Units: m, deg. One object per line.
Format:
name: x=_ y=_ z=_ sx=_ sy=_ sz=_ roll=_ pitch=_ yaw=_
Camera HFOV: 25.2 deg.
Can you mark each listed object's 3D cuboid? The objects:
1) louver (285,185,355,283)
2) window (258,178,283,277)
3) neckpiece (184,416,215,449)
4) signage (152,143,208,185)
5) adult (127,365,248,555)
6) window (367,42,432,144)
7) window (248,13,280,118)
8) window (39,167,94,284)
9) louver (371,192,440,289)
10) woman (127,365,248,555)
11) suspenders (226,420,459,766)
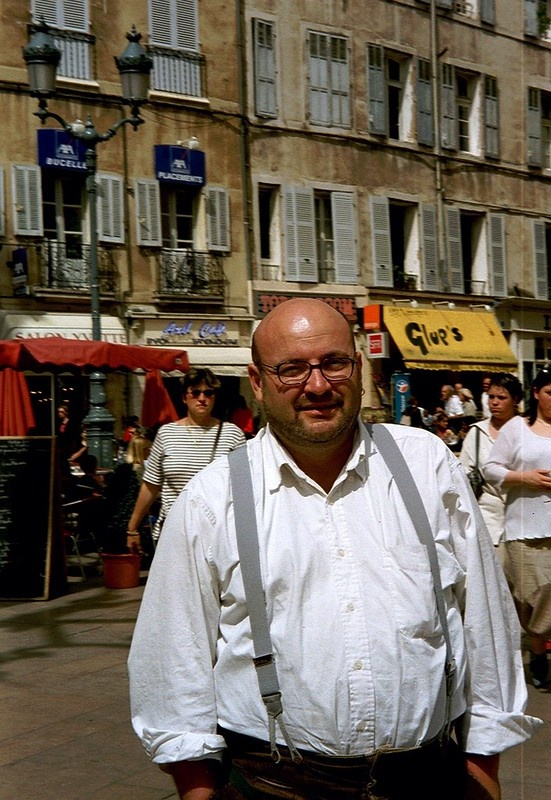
louver: x=0.790 y=-3.014 z=22.582 sx=1.823 sy=2.056 sz=0.206 roll=4 pitch=-8 yaw=-44
window: x=-0.162 y=-3.089 z=22.217 sx=0.379 sy=1.576 sz=0.155 roll=-11 pitch=28 yaw=-23
neckpiece: x=-0.385 y=0.184 z=6.572 sx=0.137 sy=0.138 sz=0.049 roll=20 pitch=1 yaw=-4
signage: x=-1.637 y=-3.918 z=20.576 sx=0.053 sy=0.551 sz=0.785 roll=-5 pitch=-4 yaw=41
adult: x=-0.435 y=0.580 z=6.656 sx=0.720 sy=1.449 sz=0.478 roll=0 pitch=8 yaw=-12
window: x=2.227 y=-5.529 z=22.106 sx=1.674 sy=2.029 sz=0.779 roll=1 pitch=3 yaw=-1
window: x=-0.174 y=-5.727 z=21.573 sx=0.705 sy=1.698 sz=0.297 roll=-1 pitch=0 yaw=-41
window: x=-3.383 y=-2.656 z=19.668 sx=0.980 sy=1.929 sz=0.087 roll=10 pitch=21 yaw=25
louver: x=2.318 y=-2.894 z=23.858 sx=1.813 sy=1.676 sz=0.600 roll=1 pitch=-5 yaw=-38
woman: x=-0.463 y=0.571 z=6.646 sx=0.732 sy=1.430 sz=0.508 roll=-1 pitch=11 yaw=-16
suspenders: x=0.134 y=0.428 z=2.543 sx=0.479 sy=0.752 sz=0.303 roll=-13 pitch=-33 yaw=-8
